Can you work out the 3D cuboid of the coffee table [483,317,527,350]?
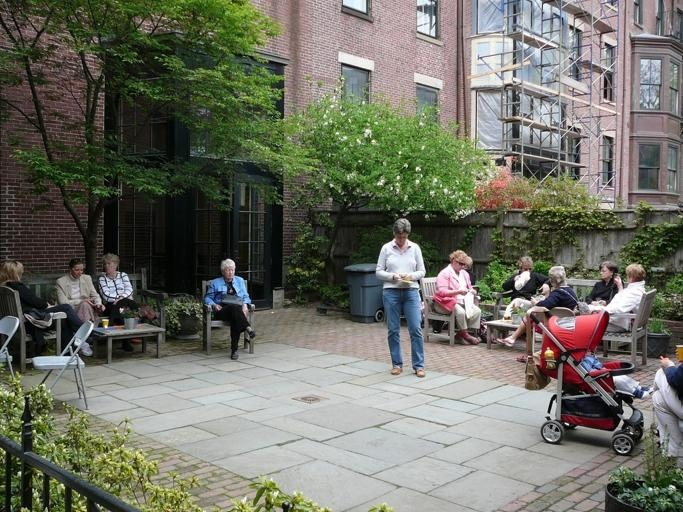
[{"bbox_3d":[2.894,1.404,11.297,0.645,0.432,0.508,-1,-2,38],"label":"coffee table"}]

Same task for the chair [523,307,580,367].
[{"bbox_3d":[2.628,0.974,7.957,0.695,0.682,0.648,9,-24,-29],"label":"chair"}]

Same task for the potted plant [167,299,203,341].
[{"bbox_3d":[-3.019,1.208,11.897,0.864,0.689,0.760,-3,0,-24],"label":"potted plant"}]

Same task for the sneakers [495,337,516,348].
[{"bbox_3d":[2.981,1.587,11.138,0.401,0.137,0.160,18,10,39],"label":"sneakers"}]

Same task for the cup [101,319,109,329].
[{"bbox_3d":[-3.785,1.090,9.847,0.084,0.136,0.347,-2,1,-17],"label":"cup"}]

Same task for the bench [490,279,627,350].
[{"bbox_3d":[4.199,1.166,11.713,2.603,1.267,1.009,3,-7,2],"label":"bench"}]

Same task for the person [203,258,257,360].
[{"bbox_3d":[-1.894,0.875,10.480,0.773,1.599,0.938,-3,2,-43],"label":"person"}]

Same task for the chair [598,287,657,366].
[{"bbox_3d":[4.486,1.181,9.893,0.907,1.125,0.841,1,2,35],"label":"chair"}]

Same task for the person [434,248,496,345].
[{"bbox_3d":[2.295,0.800,11.723,0.989,1.762,0.537,-2,2,-19],"label":"person"}]

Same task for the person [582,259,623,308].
[{"bbox_3d":[4.522,0.516,10.664,0.722,0.775,0.565,-1,-2,-25],"label":"person"}]

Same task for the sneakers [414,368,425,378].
[{"bbox_3d":[1.134,1.708,8.915,0.120,0.085,0.232,-1,-3,-4],"label":"sneakers"}]

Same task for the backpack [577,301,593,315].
[{"bbox_3d":[3.977,0.866,10.037,0.283,0.148,0.366,2,8,10],"label":"backpack"}]

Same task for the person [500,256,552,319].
[{"bbox_3d":[3.495,0.759,11.811,1.225,1.416,1.181,3,8,18],"label":"person"}]

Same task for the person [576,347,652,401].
[{"bbox_3d":[2.692,1.216,6.510,1.059,0.417,0.337,9,25,22],"label":"person"}]

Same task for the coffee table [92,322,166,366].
[{"bbox_3d":[-3.426,1.407,9.981,0.653,0.543,1.148,0,1,38],"label":"coffee table"}]

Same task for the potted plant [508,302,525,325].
[{"bbox_3d":[3.298,1.075,11.505,0.339,0.330,0.335,4,-6,-29],"label":"potted plant"}]

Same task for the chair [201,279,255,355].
[{"bbox_3d":[-2.015,1.052,10.764,1.048,1.178,0.881,0,3,-5],"label":"chair"}]

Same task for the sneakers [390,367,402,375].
[{"bbox_3d":[0.813,1.706,9.023,0.103,0.087,0.256,-1,-4,14],"label":"sneakers"}]

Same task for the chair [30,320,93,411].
[{"bbox_3d":[-3.386,1.301,7.383,0.751,0.931,0.595,2,1,-21],"label":"chair"}]

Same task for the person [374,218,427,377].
[{"bbox_3d":[0.871,0.611,9.040,0.688,2.287,0.415,-1,2,9],"label":"person"}]

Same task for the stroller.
[{"bbox_3d":[2.658,1.299,6.953,1.652,1.690,1.025,-1,0,17],"label":"stroller"}]

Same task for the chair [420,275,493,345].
[{"bbox_3d":[2.413,1.066,12.191,1.150,1.520,1.113,0,0,42],"label":"chair"}]
